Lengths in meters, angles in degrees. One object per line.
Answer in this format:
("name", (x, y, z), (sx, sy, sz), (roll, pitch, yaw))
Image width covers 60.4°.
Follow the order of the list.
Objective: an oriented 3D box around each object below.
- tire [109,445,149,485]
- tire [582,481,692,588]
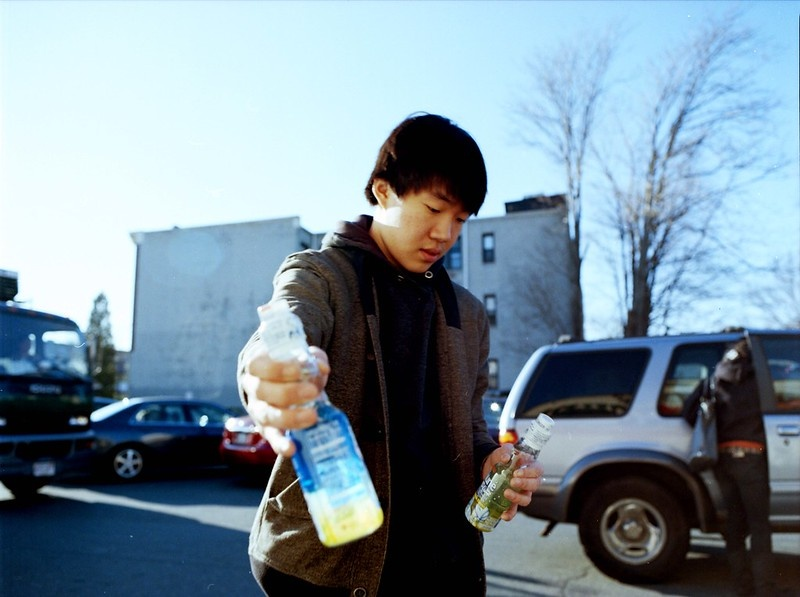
("tire", (-2.019, 1.242, 5.102), (0.056, 0.180, 0.181), (-34, 20, 33))
("tire", (1.672, 1.620, 4.959), (0.740, 0.831, 0.282), (-5, 9, 16))
